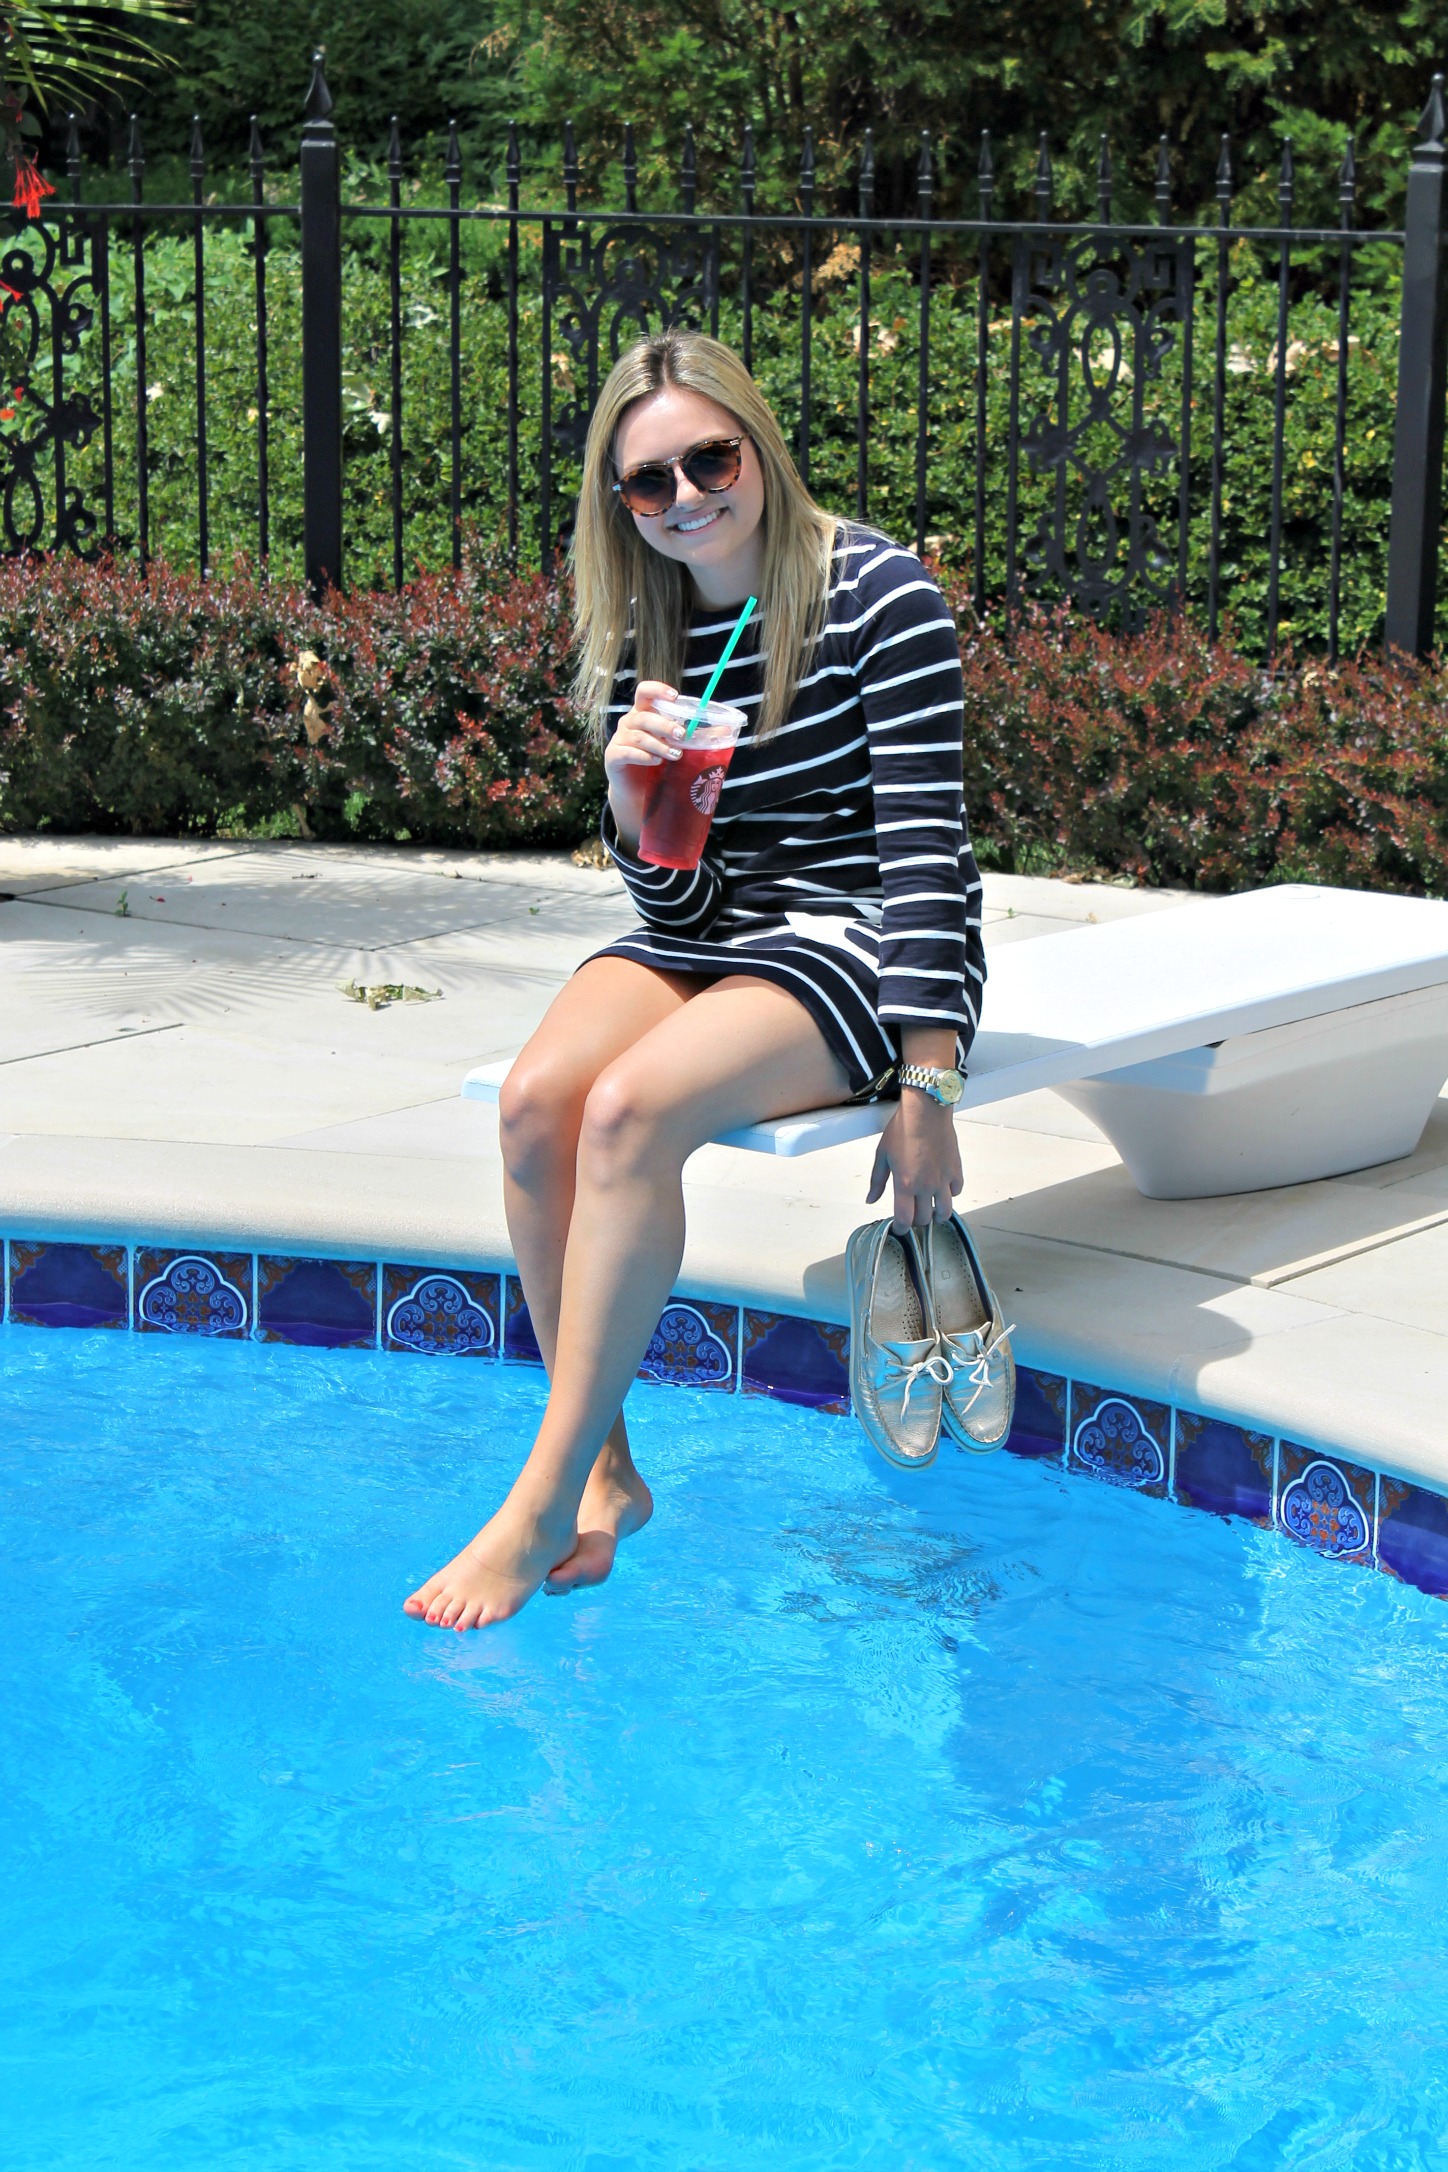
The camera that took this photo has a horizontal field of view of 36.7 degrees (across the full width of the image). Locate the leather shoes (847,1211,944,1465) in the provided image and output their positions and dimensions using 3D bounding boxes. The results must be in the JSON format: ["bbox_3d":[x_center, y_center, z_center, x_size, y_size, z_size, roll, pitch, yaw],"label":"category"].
[{"bbox_3d":[0.200,0.305,2.727,0.119,0.299,0.121,-9,3,-10],"label":"leather shoes"}]

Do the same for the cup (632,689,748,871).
[{"bbox_3d":[-0.076,-0.357,2.567,0.146,0.188,0.139,11,4,-1],"label":"cup"}]

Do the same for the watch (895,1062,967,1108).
[{"bbox_3d":[0.242,-0.004,2.524,0.073,0.043,0.065,23,-17,-14],"label":"watch"}]

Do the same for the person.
[{"bbox_3d":[0.021,-0.190,2.568,0.533,1.364,0.818,0,14,6],"label":"person"}]

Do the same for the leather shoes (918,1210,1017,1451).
[{"bbox_3d":[0.304,0.301,2.747,0.122,0.290,0.109,-12,5,-9],"label":"leather shoes"}]
